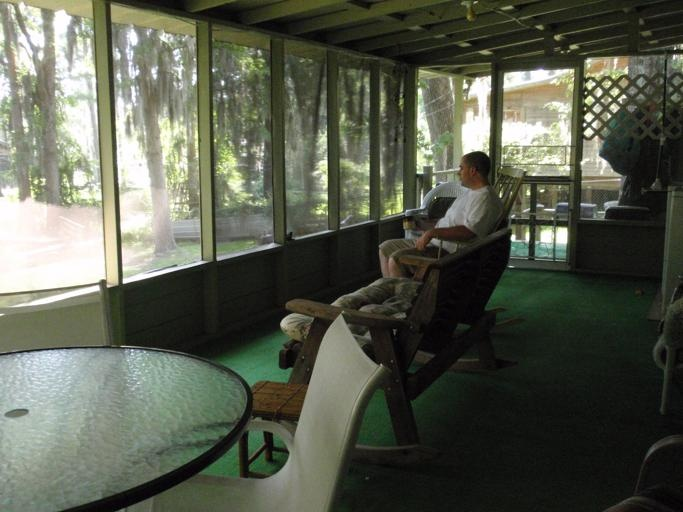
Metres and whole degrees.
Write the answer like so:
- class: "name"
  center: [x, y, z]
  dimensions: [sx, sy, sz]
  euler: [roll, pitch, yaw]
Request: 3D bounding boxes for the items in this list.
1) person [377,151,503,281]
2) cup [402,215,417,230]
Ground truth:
- class: "person"
  center: [0.848, -0.183, 4.518]
  dimensions: [1.005, 1.384, 0.720]
  euler: [-1, 16, 7]
- class: "cup"
  center: [0.731, -0.362, 5.386]
  dimensions: [0.168, 0.150, 0.107]
  euler: [-1, 1, -5]
